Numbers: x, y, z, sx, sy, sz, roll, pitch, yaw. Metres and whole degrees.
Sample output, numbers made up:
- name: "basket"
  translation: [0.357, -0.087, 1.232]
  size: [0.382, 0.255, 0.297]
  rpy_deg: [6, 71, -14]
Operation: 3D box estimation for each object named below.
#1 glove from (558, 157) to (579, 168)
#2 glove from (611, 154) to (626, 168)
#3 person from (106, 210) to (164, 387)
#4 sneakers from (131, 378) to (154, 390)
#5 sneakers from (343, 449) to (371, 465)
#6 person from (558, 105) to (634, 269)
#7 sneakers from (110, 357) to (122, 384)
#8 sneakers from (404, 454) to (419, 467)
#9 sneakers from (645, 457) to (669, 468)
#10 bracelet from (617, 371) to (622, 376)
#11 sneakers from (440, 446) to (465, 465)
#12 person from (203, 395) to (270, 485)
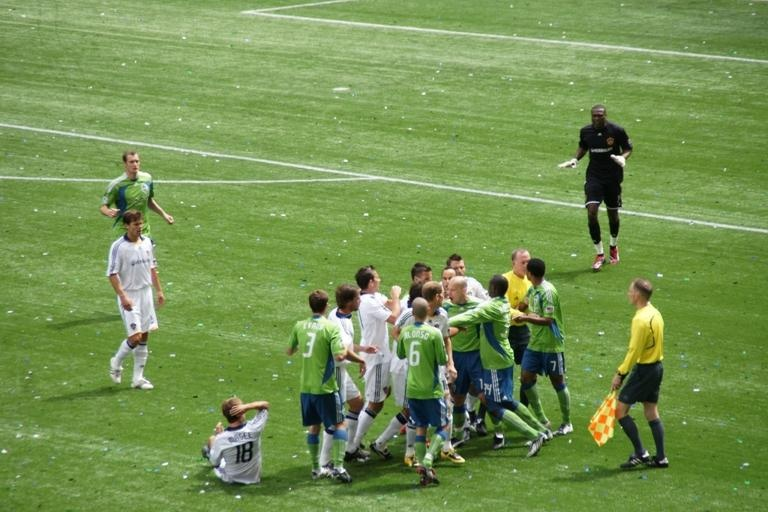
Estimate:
- name: "glove"
  translation: [4.469, -2.309, 42.417]
  size: [0.583, 0.150, 0.418]
  rpy_deg: [-21, 7, -16]
- name: "glove"
  translation: [5.426, -2.210, 40.031]
  size: [0.347, 0.141, 0.252]
  rpy_deg: [36, 6, -43]
- name: "person"
  translation: [-5.341, 0.919, 36.832]
  size: [1.090, 3.767, 1.207]
  rpy_deg: [-1, 14, 0]
- name: "sneakers"
  translation: [-5.140, 2.744, 36.727]
  size: [0.456, 0.161, 0.213]
  rpy_deg: [-1, 4, 11]
- name: "sneakers"
  translation: [-0.577, 4.128, 35.272]
  size: [0.599, 0.240, 0.214]
  rpy_deg: [-2, 30, -11]
- name: "person"
  translation: [5.057, -1.657, 40.346]
  size: [1.208, 3.756, 1.010]
  rpy_deg: [1, 14, 6]
- name: "sneakers"
  translation: [-5.724, 2.455, 36.852]
  size: [0.294, 0.538, 0.248]
  rpy_deg: [3, 13, 19]
- name: "sneakers"
  translation: [0.522, 4.197, 35.133]
  size: [0.172, 0.181, 0.299]
  rpy_deg: [7, 18, 19]
- name: "sneakers"
  translation: [5.485, 4.219, 35.026]
  size: [0.497, 0.177, 0.163]
  rpy_deg: [3, -12, -1]
- name: "bracelet"
  translation: [4.710, 2.392, 34.789]
  size: [0.108, 0.114, 0.043]
  rpy_deg: [4, 15, 20]
- name: "sneakers"
  translation: [1.386, 4.085, 35.152]
  size: [0.595, 0.255, 0.257]
  rpy_deg: [7, 19, 7]
- name: "person"
  translation: [-2.941, 3.737, 34.622]
  size: [1.164, 1.731, 0.473]
  rpy_deg: [-1, 14, -3]
